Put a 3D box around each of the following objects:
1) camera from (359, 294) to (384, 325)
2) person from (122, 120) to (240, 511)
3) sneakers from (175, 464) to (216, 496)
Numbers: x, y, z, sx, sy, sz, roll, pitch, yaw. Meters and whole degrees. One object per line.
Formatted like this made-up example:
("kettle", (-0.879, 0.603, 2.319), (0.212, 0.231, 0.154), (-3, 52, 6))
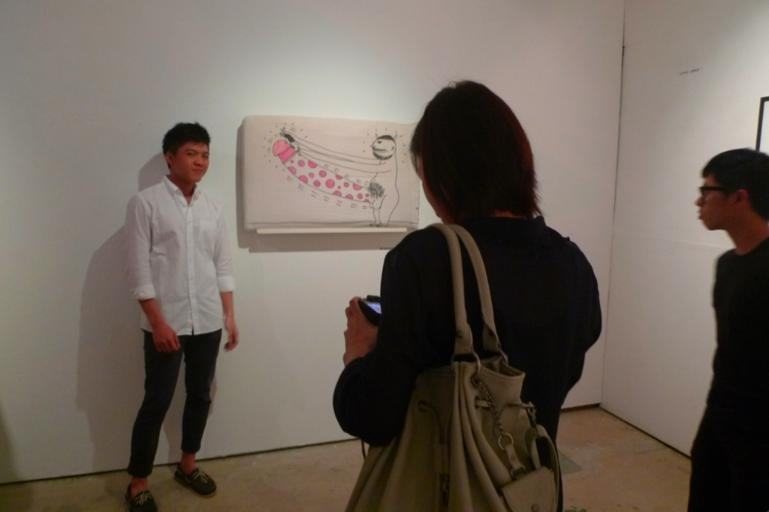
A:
("camera", (-0.045, 0.202, 1.987), (0.028, 0.101, 0.099), (-26, 2, 14))
("person", (-1.218, 0.346, 3.129), (0.682, 2.231, 0.375), (-3, 9, -26))
("sneakers", (-1.149, 1.366, 3.245), (0.256, 0.111, 0.123), (23, 14, 16))
